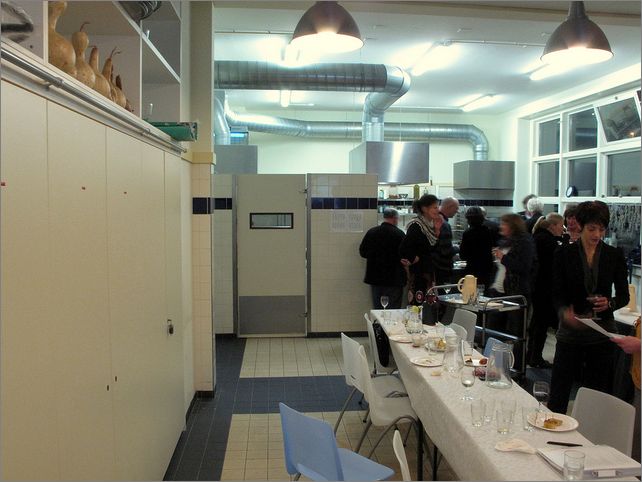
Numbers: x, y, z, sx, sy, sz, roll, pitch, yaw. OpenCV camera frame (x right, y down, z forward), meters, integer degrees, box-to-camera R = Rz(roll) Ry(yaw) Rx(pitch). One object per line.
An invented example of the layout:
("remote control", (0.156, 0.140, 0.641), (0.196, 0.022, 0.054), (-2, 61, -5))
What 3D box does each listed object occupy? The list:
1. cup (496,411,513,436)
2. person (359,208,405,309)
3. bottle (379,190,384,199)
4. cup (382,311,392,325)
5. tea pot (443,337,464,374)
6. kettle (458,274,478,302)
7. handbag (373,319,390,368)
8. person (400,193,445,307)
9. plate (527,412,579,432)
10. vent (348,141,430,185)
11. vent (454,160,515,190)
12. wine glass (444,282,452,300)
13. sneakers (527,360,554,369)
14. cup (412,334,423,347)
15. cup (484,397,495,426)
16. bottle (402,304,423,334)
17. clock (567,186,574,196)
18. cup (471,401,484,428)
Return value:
("cup", (1.074, 1.049, 3.096), (0.108, 0.132, 0.115), (0, 7, 0))
("person", (0.833, 0.277, 7.165), (0.616, 1.396, 0.370), (1, 9, 13))
("bottle", (1.235, -0.949, 10.698), (0.122, 0.184, 0.200), (-1, 8, 2))
("cup", (0.669, 0.772, 5.346), (0.082, 0.135, 0.085), (-1, 1, 0))
("tea pot", (0.954, 0.823, 3.802), (0.180, 0.271, 0.182), (0, -13, 0))
("kettle", (1.585, 0.497, 5.706), (0.188, 0.286, 0.341), (1, 8, 13))
("handbag", (0.595, 1.011, 5.206), (0.170, 0.497, 0.366), (-4, 14, 0))
("person", (1.228, 0.135, 6.604), (0.460, 1.416, 0.388), (1, 9, 12))
("plate", (1.392, 1.066, 3.188), (0.284, 0.090, 0.192), (2, 8, 18))
("vent", (1.431, -1.403, 9.691), (1.139, 0.790, 1.639), (-1, 8, 9))
("vent", (3.500, -1.401, 11.360), (1.261, 0.618, 0.675), (2, 9, 20))
("wine glass", (1.512, 0.596, 6.345), (0.116, 0.117, 0.130), (-2, 39, 15))
("sneakers", (2.587, 1.459, 6.261), (0.280, 0.124, 0.093), (-3, 3, -8))
("cup", (0.799, 0.818, 4.426), (0.092, 0.111, 0.095), (0, 5, 0))
("cup", (1.021, 1.027, 3.209), (0.046, 0.116, 0.129), (3, 9, 28))
("bottle", (0.792, 0.733, 4.824), (0.144, 0.270, 0.267), (1, 8, 7))
("clock", (4.769, -0.947, 10.144), (0.104, 0.200, 0.292), (2, 8, 18))
("cup", (0.944, 1.030, 3.179), (0.080, 0.125, 0.109), (2, 9, 17))
